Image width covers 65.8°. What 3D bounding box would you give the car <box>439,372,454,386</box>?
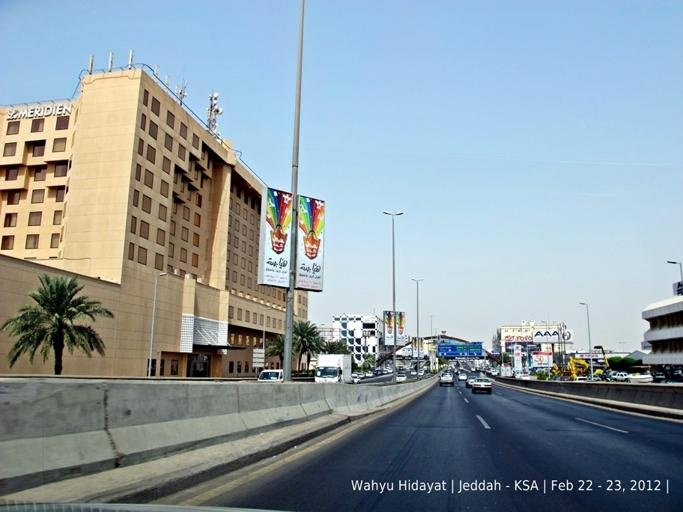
[{"bbox_3d":[12.727,15.224,63.727,1.418,1.032,3.114,0,-2,10],"label":"car"}]

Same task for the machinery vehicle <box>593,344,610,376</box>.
[{"bbox_3d":[50.511,20.666,102.253,2.754,7.221,1.503,-6,16,15],"label":"machinery vehicle"}]

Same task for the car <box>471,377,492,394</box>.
[{"bbox_3d":[12.127,11.433,46.083,1.262,0.938,2.899,0,-4,8],"label":"car"}]
